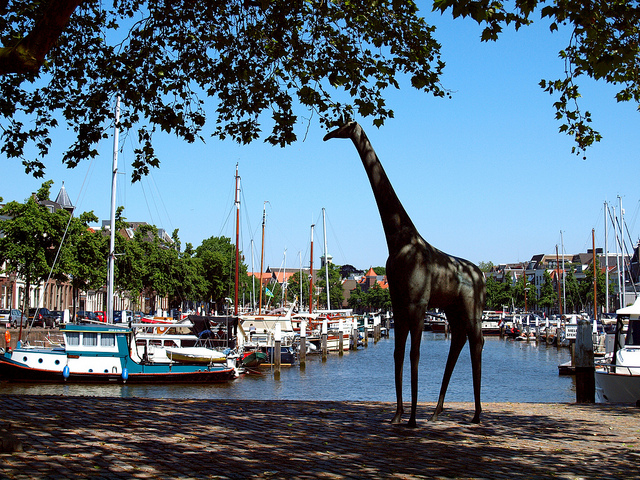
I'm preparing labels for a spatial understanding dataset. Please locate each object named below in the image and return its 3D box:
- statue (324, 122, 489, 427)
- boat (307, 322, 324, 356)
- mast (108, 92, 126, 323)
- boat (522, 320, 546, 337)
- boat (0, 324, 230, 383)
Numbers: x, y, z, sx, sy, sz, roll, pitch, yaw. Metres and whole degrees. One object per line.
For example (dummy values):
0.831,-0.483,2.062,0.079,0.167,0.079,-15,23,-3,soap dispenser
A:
1.259,0.945,14.165,1.842,7.129,3.194,-8,-5,31,statue
-0.426,7.633,59.419,1.104,2.195,6.263,3,-7,-1,boat
-11.058,-0.030,42.321,0.642,14.431,1.218,-2,-3,-5,mast
22.833,9.403,82.997,2.317,1.758,3.370,2,-1,15,boat
-7.546,4.510,34.295,9.884,2.954,3.123,7,-13,-16,boat
